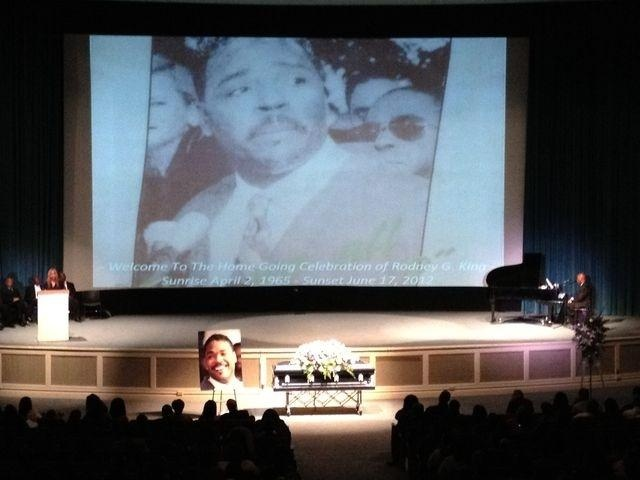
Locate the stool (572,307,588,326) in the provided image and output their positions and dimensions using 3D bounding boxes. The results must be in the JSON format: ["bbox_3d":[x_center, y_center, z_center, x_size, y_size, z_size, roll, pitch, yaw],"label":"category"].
[{"bbox_3d":[5.238,1.521,13.092,0.363,0.371,0.674,1,0,23],"label":"stool"}]

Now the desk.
[{"bbox_3d":[0.022,2.580,10.872,1.722,0.547,1.153,1,2,-9],"label":"desk"}]

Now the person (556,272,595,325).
[{"bbox_3d":[5.482,1.238,13.894,0.687,1.001,0.531,-1,5,21],"label":"person"}]

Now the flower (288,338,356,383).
[{"bbox_3d":[0.065,1.952,10.501,1.039,0.645,0.321,-1,-3,-2],"label":"flower"}]
